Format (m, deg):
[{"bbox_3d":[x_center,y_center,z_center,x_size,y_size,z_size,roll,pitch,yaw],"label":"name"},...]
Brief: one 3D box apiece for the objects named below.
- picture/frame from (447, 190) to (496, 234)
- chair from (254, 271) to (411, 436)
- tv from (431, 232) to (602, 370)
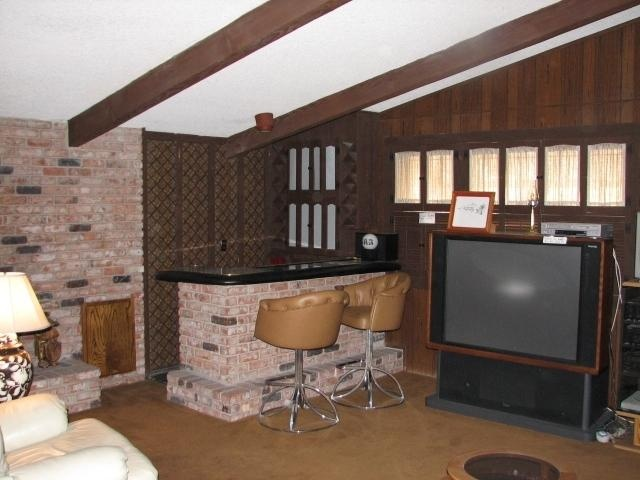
[{"bbox_3d":[1.445,-0.258,4.760,0.531,0.473,0.038,-2,-20,34],"label":"picture/frame"},{"bbox_3d":[0.076,1.096,4.842,1.407,0.981,0.725,-6,11,-43],"label":"chair"},{"bbox_3d":[1.932,0.483,4.973,2.103,1.358,1.068,3,0,33],"label":"tv"}]
